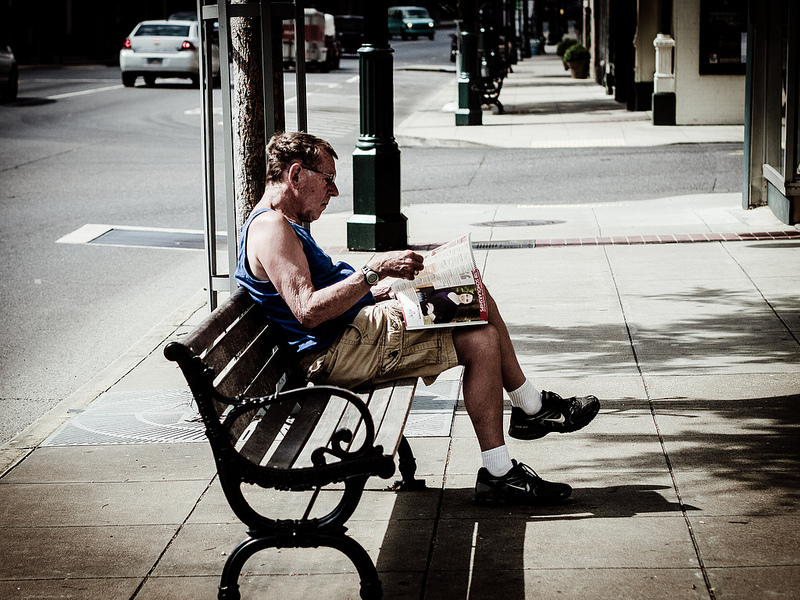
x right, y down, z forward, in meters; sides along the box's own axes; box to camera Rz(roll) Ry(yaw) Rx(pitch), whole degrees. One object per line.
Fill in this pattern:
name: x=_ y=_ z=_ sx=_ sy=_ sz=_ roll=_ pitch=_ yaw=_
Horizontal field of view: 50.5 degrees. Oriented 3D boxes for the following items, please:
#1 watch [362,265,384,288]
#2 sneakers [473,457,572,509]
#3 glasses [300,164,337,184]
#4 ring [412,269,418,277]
watch: x=-0.118 y=-0.105 z=3.654 sx=0.059 sy=0.098 sz=0.095 roll=-34 pitch=16 yaw=-10
sneakers: x=0.553 y=0.835 z=3.934 sx=0.516 sy=0.248 sz=0.191 roll=1 pitch=6 yaw=-4
glasses: x=-0.367 y=-0.589 z=3.907 sx=0.097 sy=0.030 sz=0.094 roll=25 pitch=0 yaw=-14
ring: x=0.064 y=-0.119 z=3.692 sx=0.028 sy=0.030 sz=0.018 roll=5 pitch=3 yaw=-40
